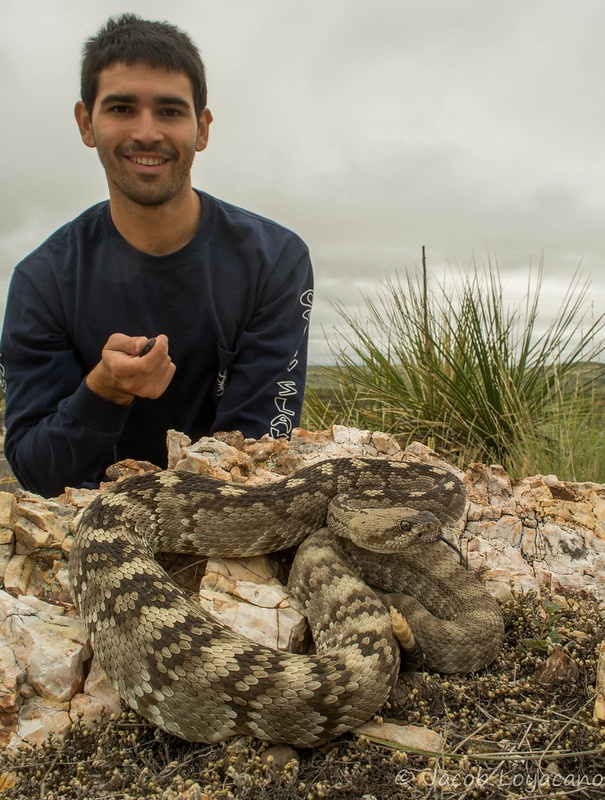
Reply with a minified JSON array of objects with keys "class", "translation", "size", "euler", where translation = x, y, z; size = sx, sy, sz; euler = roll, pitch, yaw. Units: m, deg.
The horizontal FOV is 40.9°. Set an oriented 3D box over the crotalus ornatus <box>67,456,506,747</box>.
[{"class":"crotalus ornatus","translation":[-0.267,0.931,3.765],"size":[1.516,0.395,1.331],"euler":[13,20,28]}]
